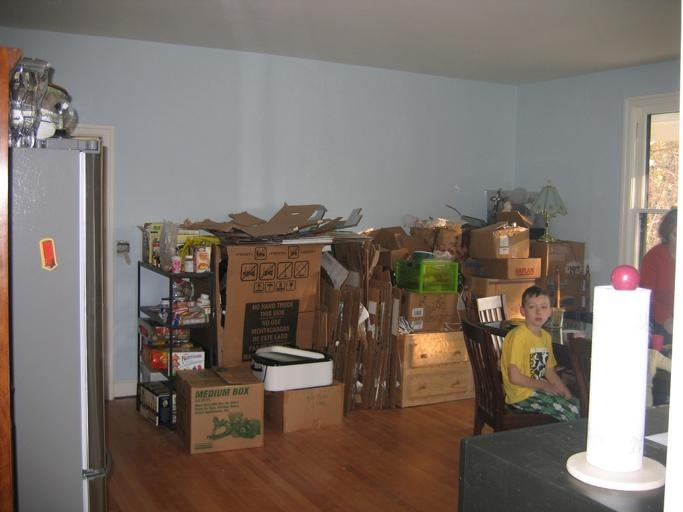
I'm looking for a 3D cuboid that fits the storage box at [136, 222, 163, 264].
[{"bbox_3d":[-1.579,-0.095,4.636,0.268,0.308,0.262,2,7,1],"label":"storage box"}]

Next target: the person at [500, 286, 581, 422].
[{"bbox_3d":[1.280,0.676,3.417,0.480,0.913,0.545,-2,2,-32],"label":"person"}]

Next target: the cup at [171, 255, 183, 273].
[{"bbox_3d":[-1.258,0.069,4.215,0.100,0.135,0.106,1,9,0],"label":"cup"}]

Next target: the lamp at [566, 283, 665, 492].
[{"bbox_3d":[0.673,0.306,1.320,0.230,0.466,0.166,2,6,11],"label":"lamp"}]

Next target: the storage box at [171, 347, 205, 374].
[{"bbox_3d":[-1.188,0.841,4.285,0.254,0.180,0.220,-1,6,-18],"label":"storage box"}]

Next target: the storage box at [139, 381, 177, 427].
[{"bbox_3d":[-1.464,1.170,4.444,0.250,0.207,0.425,-9,12,-42],"label":"storage box"}]

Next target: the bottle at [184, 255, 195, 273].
[{"bbox_3d":[-1.178,0.074,4.231,0.105,0.159,0.109,2,0,0],"label":"bottle"}]

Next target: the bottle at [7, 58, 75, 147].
[{"bbox_3d":[-1.124,-0.565,2.045,0.126,0.334,0.236,10,11,25],"label":"bottle"}]

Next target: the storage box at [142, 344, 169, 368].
[{"bbox_3d":[-1.512,0.816,4.466,0.165,0.196,0.284,2,0,-31],"label":"storage box"}]
